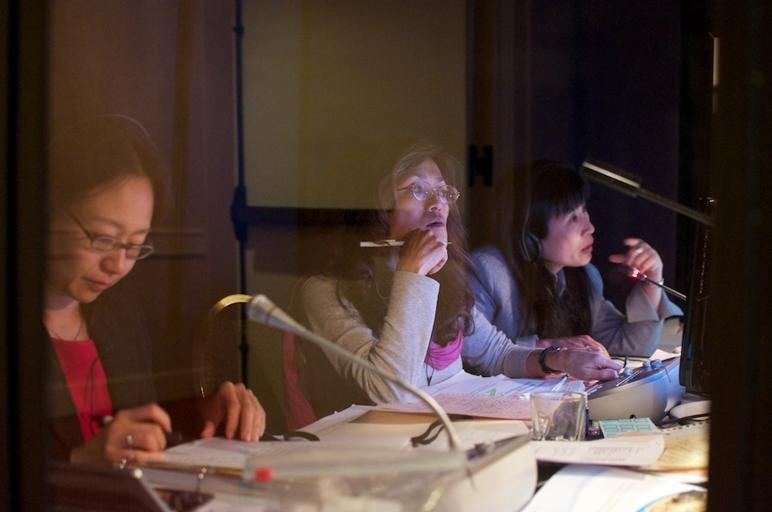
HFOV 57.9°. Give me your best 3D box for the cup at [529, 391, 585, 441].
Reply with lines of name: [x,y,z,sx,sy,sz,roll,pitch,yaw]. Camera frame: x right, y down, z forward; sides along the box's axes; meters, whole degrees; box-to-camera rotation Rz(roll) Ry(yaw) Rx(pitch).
cup: [0.329,0.307,1.369,0.092,0.092,0.084,-1,-1,0]

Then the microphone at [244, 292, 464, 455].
microphone: [-0.030,0.188,1.316,0.309,0.223,0.567,-5,-3,5]

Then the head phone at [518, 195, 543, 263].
head phone: [0.427,-0.071,2.086,0.055,0.155,0.123,-5,-14,4]

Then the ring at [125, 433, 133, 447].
ring: [-0.466,0.340,1.275,0.014,0.019,0.008,-5,-1,25]

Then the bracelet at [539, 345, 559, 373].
bracelet: [0.410,0.263,1.758,0.050,0.021,0.061,23,-50,-6]

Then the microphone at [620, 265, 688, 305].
microphone: [0.754,0.082,1.951,0.196,0.032,0.023,29,-54,-23]

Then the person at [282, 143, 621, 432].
person: [0.204,0.068,2.053,0.862,0.773,0.566,-5,0,17]

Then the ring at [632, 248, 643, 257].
ring: [0.693,-0.009,1.932,0.017,0.007,0.022,-5,24,42]

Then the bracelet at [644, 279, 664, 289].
bracelet: [0.732,0.078,1.921,0.027,0.010,0.015,24,38,13]
